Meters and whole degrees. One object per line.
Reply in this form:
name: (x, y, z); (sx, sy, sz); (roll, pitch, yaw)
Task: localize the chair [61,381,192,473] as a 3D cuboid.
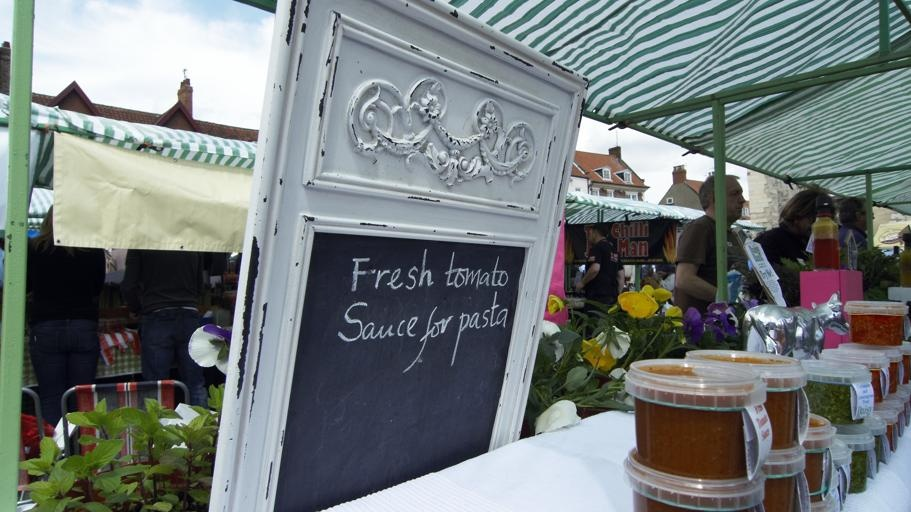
chair: (-1.635, 0.845, 3.409); (0.534, 0.544, 0.406); (1, -24, -9)

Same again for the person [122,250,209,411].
person: (-2.561, 0.612, 6.104); (0.797, 1.308, 0.512); (3, -3, -9)
